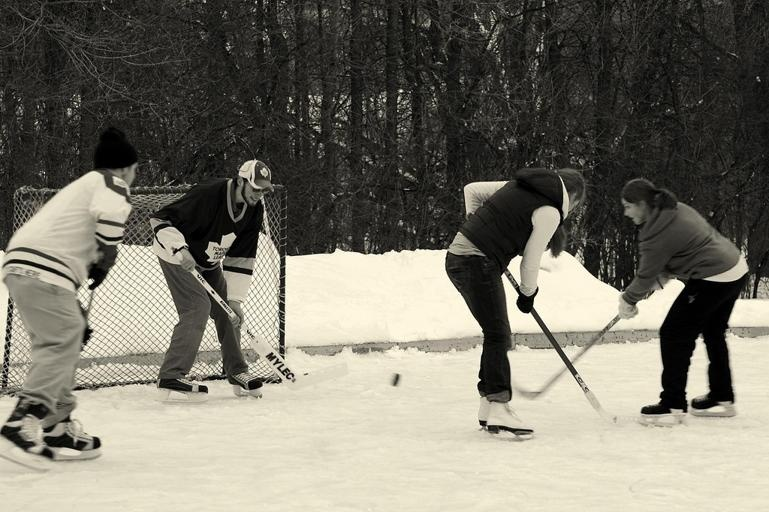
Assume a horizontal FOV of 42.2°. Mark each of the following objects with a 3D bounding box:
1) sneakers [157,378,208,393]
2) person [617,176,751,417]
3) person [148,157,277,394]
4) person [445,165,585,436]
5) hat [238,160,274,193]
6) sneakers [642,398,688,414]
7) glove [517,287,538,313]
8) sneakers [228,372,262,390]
[{"bbox_3d":[-1.899,1.227,9.426,0.483,0.179,0.165,-1,4,-9],"label":"sneakers"},{"bbox_3d":[2.689,0.378,8.948,1.088,2.153,0.361,-2,3,-8],"label":"person"},{"bbox_3d":[-1.608,0.248,9.343,1.096,2.241,0.621,-2,3,-11],"label":"person"},{"bbox_3d":[1.110,0.387,8.675,1.141,2.308,0.479,-2,3,2],"label":"person"},{"bbox_3d":[-1.199,-0.752,9.227,0.350,0.209,0.250,35,18,22],"label":"hat"},{"bbox_3d":[2.479,1.351,8.901,0.420,0.156,0.149,2,-7,0],"label":"sneakers"},{"bbox_3d":[1.221,0.382,8.696,0.233,0.221,0.160,4,14,2],"label":"glove"},{"bbox_3d":[-1.319,1.195,9.506,0.287,0.116,0.152,-1,4,38],"label":"sneakers"}]
